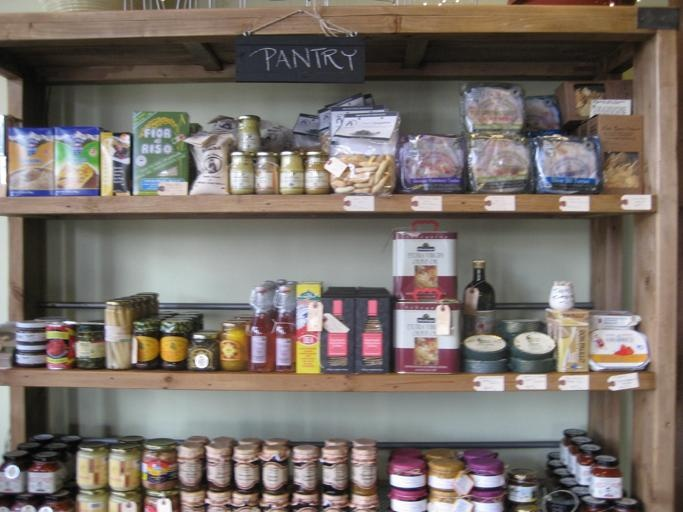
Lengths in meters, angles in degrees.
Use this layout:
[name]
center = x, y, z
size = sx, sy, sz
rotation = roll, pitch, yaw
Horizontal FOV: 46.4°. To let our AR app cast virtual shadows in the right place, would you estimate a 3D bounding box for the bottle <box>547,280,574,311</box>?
[bottle]
center = 0.958, 0.172, 3.553
size = 0.196, 0.138, 0.144
rotation = 2, -4, 8
